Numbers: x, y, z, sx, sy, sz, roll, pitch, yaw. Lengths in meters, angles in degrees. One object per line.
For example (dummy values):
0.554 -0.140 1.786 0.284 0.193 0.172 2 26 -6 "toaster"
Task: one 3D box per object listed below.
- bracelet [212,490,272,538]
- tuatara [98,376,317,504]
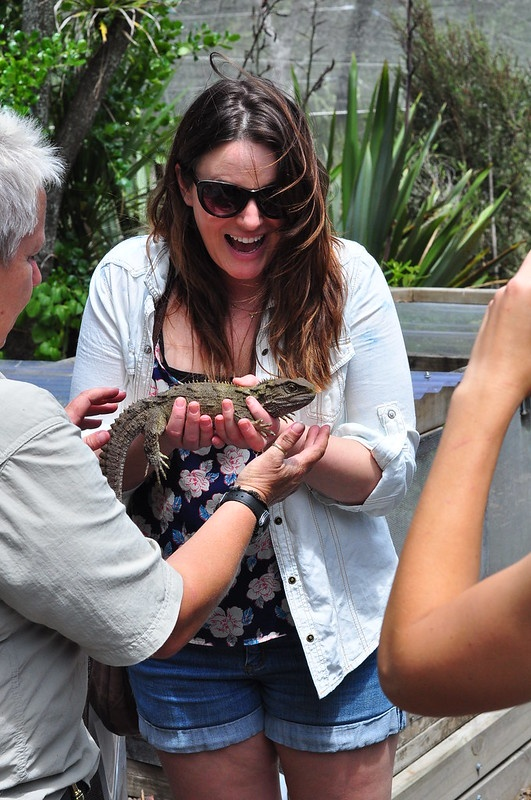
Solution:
-0.054 0.250 1.742 0.117 0.073 0.116 36 -9 -11 "bracelet"
-0.143 0.154 2.112 0.467 0.152 0.356 -10 26 10 "tuatara"
